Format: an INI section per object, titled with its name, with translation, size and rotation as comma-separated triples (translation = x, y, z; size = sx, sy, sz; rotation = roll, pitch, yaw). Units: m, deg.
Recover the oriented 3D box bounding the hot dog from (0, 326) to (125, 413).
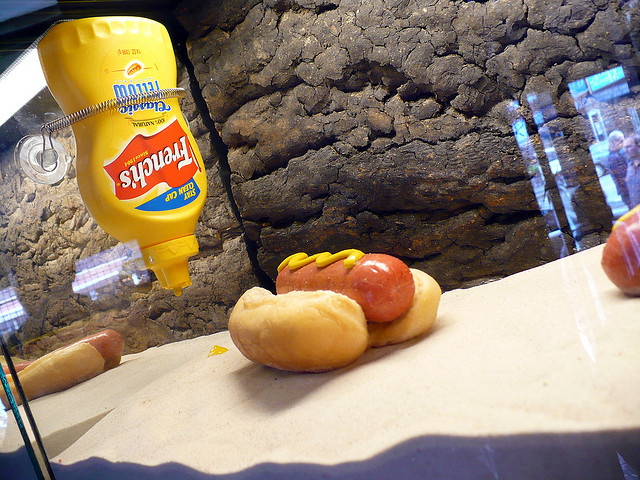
[hot dog]
translation = -0.451, 0.197, 1.010
size = 0.203, 0.111, 0.072
rotation = -25, 53, -13
